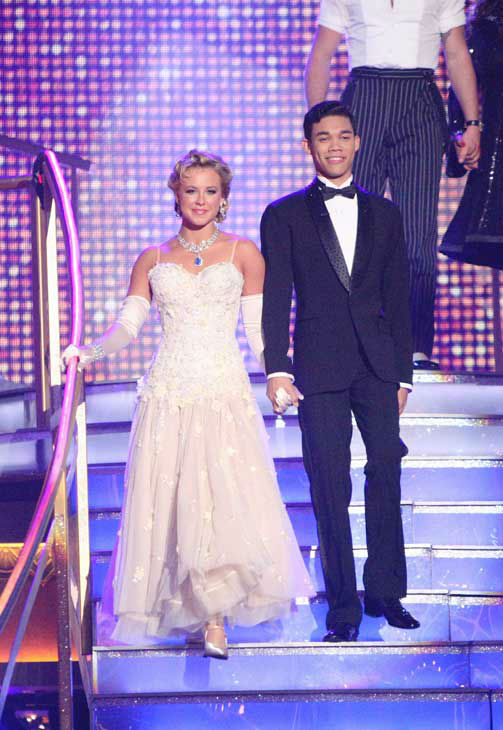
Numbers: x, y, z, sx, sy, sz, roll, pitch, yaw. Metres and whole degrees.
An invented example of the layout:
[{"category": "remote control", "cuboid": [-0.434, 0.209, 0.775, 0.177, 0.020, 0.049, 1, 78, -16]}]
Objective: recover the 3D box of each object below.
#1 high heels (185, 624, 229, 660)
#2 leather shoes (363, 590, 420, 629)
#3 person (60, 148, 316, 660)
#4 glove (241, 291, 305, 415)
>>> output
[{"category": "high heels", "cuboid": [-0.123, 0.704, 2.329, 0.053, 0.083, 0.173, 5, -19, -20]}, {"category": "leather shoes", "cuboid": [0.368, 0.659, 2.442, 0.171, 0.076, 0.060, 8, 8, 40]}, {"category": "person", "cuboid": [-0.163, 0.065, 2.539, 0.617, 1.349, 0.546, 2, 3, 40]}, {"category": "glove", "cuboid": [0.060, -0.033, 2.590, 0.113, 0.438, 0.125, -7, 2, 1]}]
